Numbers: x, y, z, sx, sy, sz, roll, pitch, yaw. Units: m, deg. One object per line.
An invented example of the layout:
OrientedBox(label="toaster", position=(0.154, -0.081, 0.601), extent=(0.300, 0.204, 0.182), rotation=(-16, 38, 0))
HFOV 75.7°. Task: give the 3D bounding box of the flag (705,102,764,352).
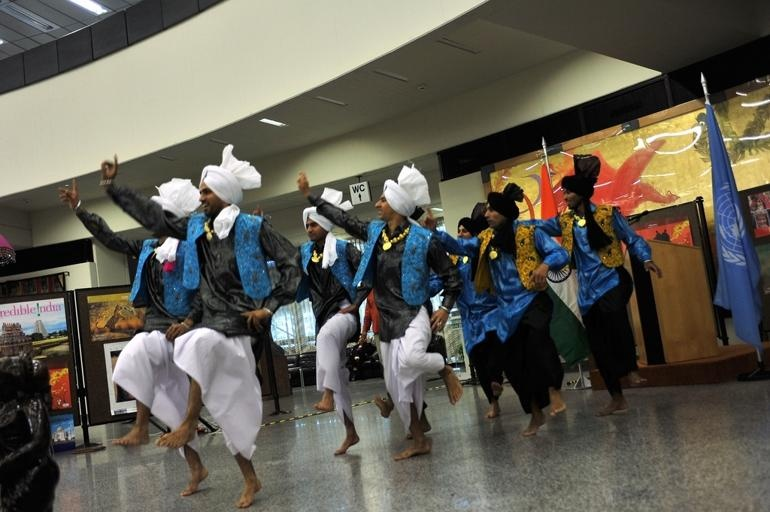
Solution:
OrientedBox(label="flag", position=(3.825, -0.343, 5.609), extent=(0.425, 2.730, 0.429), rotation=(0, -11, -39))

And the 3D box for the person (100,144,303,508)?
OrientedBox(label="person", position=(-1.203, 0.419, 3.550), extent=(1.132, 2.513, 0.642), rotation=(-3, -9, -24))
